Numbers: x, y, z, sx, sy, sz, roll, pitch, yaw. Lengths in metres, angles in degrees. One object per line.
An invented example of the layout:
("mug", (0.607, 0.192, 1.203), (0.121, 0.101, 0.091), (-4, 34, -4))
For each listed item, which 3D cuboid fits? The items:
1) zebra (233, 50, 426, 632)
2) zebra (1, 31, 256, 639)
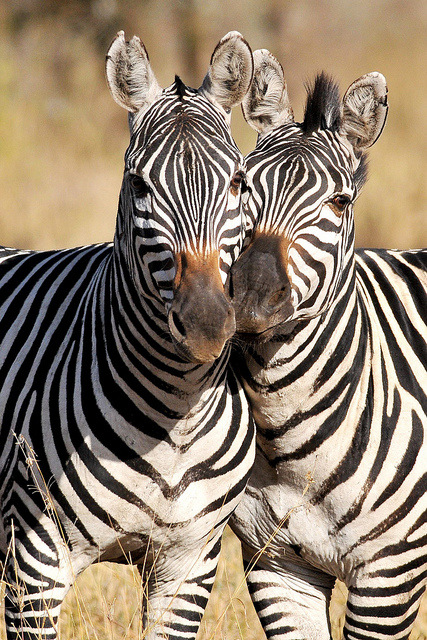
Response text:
("zebra", (0.406, 0.157, 3.242), (0.759, 2.057, 0.804), (-1, 15, -7))
("zebra", (-0.305, 0.105, 3.024), (0.967, 2.008, 0.838), (7, 16, 20))
